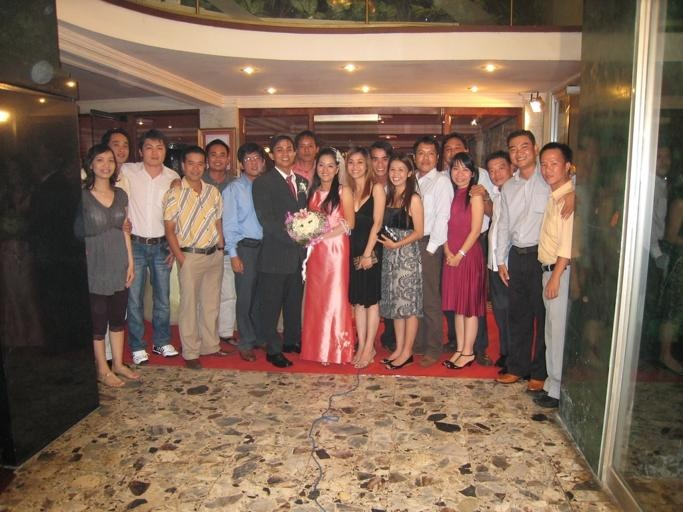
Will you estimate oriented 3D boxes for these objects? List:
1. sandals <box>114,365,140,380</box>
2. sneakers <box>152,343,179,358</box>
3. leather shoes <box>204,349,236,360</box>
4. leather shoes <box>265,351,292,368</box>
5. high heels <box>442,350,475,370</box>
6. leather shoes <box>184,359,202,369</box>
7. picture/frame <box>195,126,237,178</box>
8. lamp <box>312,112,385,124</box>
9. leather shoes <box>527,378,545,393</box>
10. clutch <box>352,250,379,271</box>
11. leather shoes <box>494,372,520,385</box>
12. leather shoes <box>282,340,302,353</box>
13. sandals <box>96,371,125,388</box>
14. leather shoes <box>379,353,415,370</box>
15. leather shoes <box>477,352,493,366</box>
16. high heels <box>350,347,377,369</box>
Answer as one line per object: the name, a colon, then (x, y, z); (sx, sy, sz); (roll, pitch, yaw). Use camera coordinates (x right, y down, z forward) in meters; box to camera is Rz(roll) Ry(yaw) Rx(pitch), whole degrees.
sandals: (-1.851, 1.012, 4.655); (0.161, 0.141, 0.064); (2, 26, -1)
sneakers: (-1.702, 0.899, 5.195); (0.258, 0.115, 0.108); (4, 12, 8)
leather shoes: (-1.160, 0.948, 5.207); (0.293, 0.134, 0.103); (-2, 7, -2)
leather shoes: (-0.582, 0.963, 5.003); (0.247, 0.120, 0.109); (12, 15, 28)
high heels: (1.068, 0.952, 4.911); (0.206, 0.082, 0.152); (-6, 6, -16)
leather shoes: (-1.337, 0.985, 4.890); (0.184, 0.080, 0.065); (-12, -4, 38)
picture/frame: (-2.236, -1.942, 9.870); (0.671, 0.983, 0.048); (0, 43, -10)
lamp: (0.033, -2.461, 9.650); (0.900, 0.151, 0.068); (-2, 15, 2)
leather shoes: (1.586, 1.067, 4.419); (0.066, 0.076, 0.169); (-2, -7, 43)
clutch: (0.220, 0.047, 4.829); (0.246, 0.154, 0.131); (-1, 13, -4)
leather shoes: (1.402, 1.043, 4.569); (0.183, 0.083, 0.085); (8, -3, -12)
leather shoes: (-0.486, 0.902, 5.320); (0.219, 0.118, 0.083); (-2, 3, -7)
sandals: (-1.924, 1.021, 4.488); (0.234, 0.116, 0.124); (-1, 13, -3)
leather shoes: (0.520, 0.967, 4.918); (0.217, 0.098, 0.126); (3, 0, -13)
leather shoes: (1.325, 0.958, 5.010); (0.066, 0.075, 0.178); (-6, 5, -20)
high heels: (0.216, 0.957, 4.998); (0.111, 0.106, 0.225); (-2, -6, 32)
